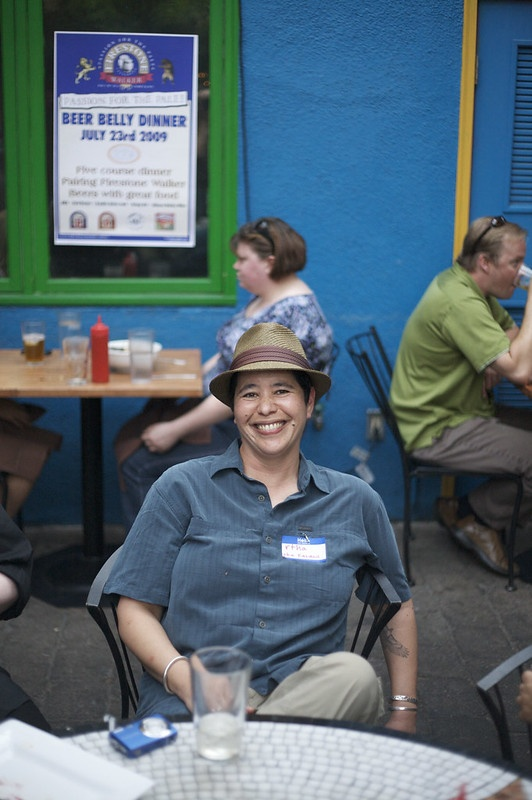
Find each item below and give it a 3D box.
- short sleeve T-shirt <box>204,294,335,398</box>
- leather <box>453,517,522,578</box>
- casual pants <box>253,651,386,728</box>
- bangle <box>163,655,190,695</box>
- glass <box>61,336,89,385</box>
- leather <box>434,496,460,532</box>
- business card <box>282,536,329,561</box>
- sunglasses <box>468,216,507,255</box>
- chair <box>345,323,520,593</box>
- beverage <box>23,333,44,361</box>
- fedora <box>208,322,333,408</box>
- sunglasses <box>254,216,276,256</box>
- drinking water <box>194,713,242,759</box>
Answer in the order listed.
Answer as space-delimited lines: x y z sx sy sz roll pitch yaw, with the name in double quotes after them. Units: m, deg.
0.037 -0.269 3.302 0.630 0.431 0.385 1 2 -4 "short sleeve T-shirt"
1.059 0.718 3.555 0.370 0.165 0.136 39 14 0 "leather"
0.094 0.544 1.410 0.233 0.091 0.168 -11 -24 2 "casual pants"
-0.180 0.548 1.435 0.045 0.067 0.037 -2 15 -24 "bangle"
-0.811 -0.180 3.079 0.109 0.190 0.267 1 14 -15 "glass"
0.938 0.601 3.779 0.077 0.085 0.195 5 35 2 "leather"
0.080 0.329 1.578 0.072 0.007 0.042 3 44 1 "business card"
1.006 -0.773 3.328 0.190 0.051 0.143 -44 -1 -8 "sunglasses"
0.633 0.107 4.130 1.295 1.722 0.975 -2 8 4 "chair"
-1.055 -0.243 3.360 0.126 0.126 0.119 1 -2 -32 "beverage"
0.016 -0.114 2.176 0.328 0.164 0.323 0 -30 -1 "fedora"
-0.005 -0.724 3.177 0.087 0.145 0.112 -16 9 -29 "sunglasses"
-0.061 0.444 0.946 0.061 0.042 0.061 -1 -1 37 "drinking water"
